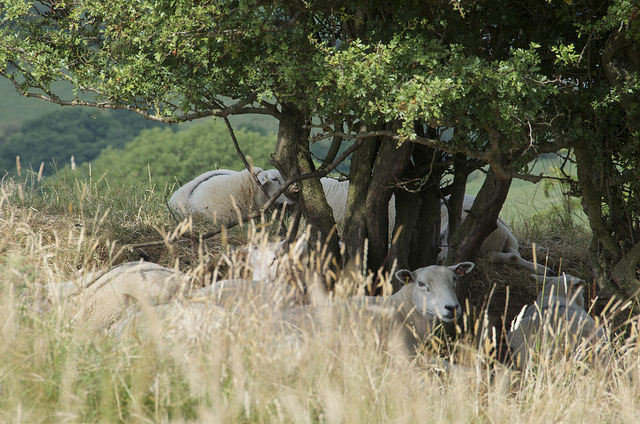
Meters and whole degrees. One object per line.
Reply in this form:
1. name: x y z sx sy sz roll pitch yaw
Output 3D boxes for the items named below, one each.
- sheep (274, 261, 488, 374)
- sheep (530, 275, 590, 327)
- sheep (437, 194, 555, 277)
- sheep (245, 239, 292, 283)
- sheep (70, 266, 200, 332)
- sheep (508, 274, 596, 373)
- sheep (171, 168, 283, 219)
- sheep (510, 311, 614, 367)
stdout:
1. sheep: 1.022 1.317 11.419 0.965 1.153 2.620 -10 -5 -19
2. sheep: 2.695 1.093 11.510 0.938 0.450 0.606 -4 -2 -33
3. sheep: 2.454 0.486 13.901 1.752 0.981 0.950 9 21 20
4. sheep: -0.591 0.551 10.848 0.405 0.309 0.624 -1 -4 0
5. sheep: -1.953 0.931 10.390 1.121 0.774 2.633 8 -1 -6
6. sheep: 2.656 1.298 11.190 0.933 1.133 3.597 8 -1 12
7. sheep: -1.577 -0.280 15.705 1.814 1.019 0.944 -3 12 15
8. sheep: 2.505 1.322 10.403 0.811 0.447 1.101 1 -4 30
